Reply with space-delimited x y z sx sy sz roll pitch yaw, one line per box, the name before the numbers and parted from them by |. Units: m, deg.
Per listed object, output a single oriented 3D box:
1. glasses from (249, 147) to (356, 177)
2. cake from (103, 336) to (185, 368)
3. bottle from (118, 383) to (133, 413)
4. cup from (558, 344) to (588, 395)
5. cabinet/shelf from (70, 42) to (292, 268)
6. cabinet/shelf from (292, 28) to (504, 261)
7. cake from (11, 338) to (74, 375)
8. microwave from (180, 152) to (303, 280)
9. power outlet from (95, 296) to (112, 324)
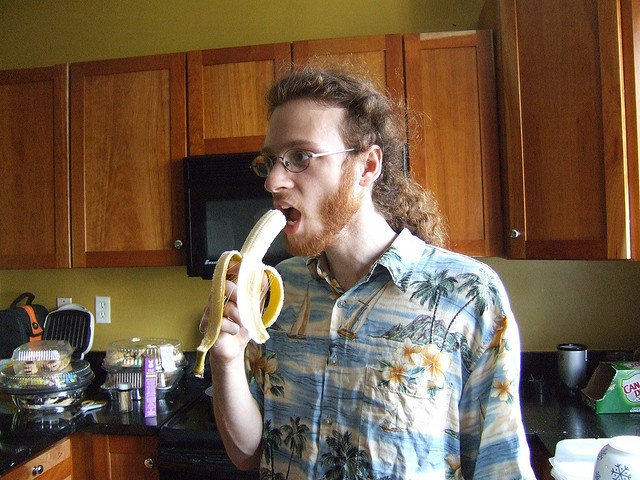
glasses | -0.080 -0.254 1.942 0.153 0.052 0.162 -4 5 42
cake | -0.883 0.564 2.997 0.349 0.110 0.377 2 8 -17
bottle | -0.906 0.727 2.829 0.063 0.125 0.141 -2 1 -19
cup | 1.186 0.603 2.870 0.124 0.214 0.144 -1 1 42
cabinet/shelf | -0.645 -0.387 2.872 0.956 0.964 0.383 1 2 -5
cabinet/shelf | 0.354 -0.357 2.391 0.908 1.068 0.343 -1 1 11
cake | -1.293 0.543 2.840 0.249 0.151 0.232 -2 1 -27
microwave | -0.427 -0.046 3.123 0.529 0.659 0.425 -5 -21 -14
power outlet | -1.251 0.403 3.504 0.095 0.158 0.027 -1 1 18
